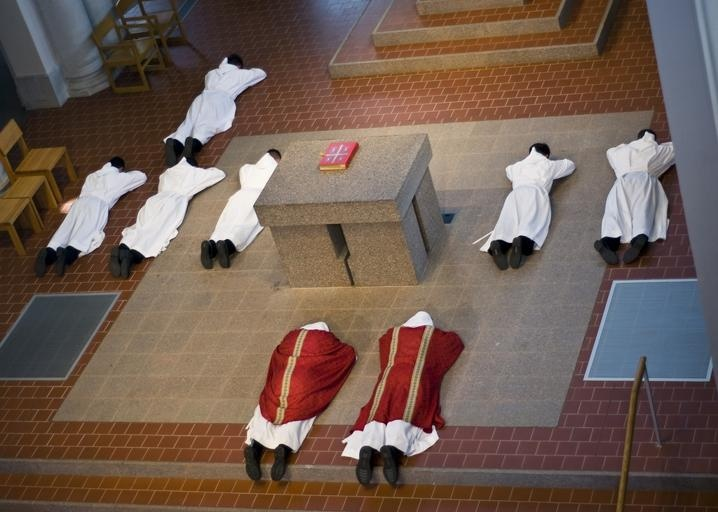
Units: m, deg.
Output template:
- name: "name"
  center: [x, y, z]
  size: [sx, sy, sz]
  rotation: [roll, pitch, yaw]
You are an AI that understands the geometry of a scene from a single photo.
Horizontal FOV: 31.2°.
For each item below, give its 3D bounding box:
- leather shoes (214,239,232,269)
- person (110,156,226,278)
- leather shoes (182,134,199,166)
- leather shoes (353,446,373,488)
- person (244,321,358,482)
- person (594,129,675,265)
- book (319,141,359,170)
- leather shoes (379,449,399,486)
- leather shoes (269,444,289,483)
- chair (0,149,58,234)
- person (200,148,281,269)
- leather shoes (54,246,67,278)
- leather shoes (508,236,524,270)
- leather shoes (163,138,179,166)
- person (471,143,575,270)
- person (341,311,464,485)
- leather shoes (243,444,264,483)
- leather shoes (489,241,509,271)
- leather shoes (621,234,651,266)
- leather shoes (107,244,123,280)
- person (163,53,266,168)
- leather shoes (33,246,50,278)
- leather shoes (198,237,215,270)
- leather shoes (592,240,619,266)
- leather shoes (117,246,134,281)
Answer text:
- name: "leather shoes"
  center: [-1.402, -0.028, 13.230]
  size: [0.146, 0.128, 0.288]
  rotation: [2, 91, 22]
- name: "person"
  center: [-2.121, -0.462, 13.862]
  size: [0.654, 0.328, 1.561]
  rotation: [22, 54, 15]
- name: "leather shoes"
  center: [-1.948, -1.207, 14.694]
  size: [0.136, 0.166, 0.365]
  rotation: [-5, 91, 27]
- name: "leather shoes"
  center: [0.049, 1.812, 11.331]
  size: [0.159, 0.132, 0.313]
  rotation: [4, 82, 10]
- name: "person"
  center: [-0.620, 1.266, 11.732]
  size: [0.805, 0.541, 1.440]
  rotation: [23, 69, 14]
- name: "person"
  center: [2.733, -0.643, 12.512]
  size: [0.597, 0.496, 1.564]
  rotation: [0, 43, 25]
- name: "book"
  center: [-0.202, -0.980, 12.544]
  size: [0.321, 0.080, 0.339]
  rotation: [1, 38, 20]
- name: "leather shoes"
  center: [0.293, 1.799, 11.288]
  size: [0.130, 0.151, 0.357]
  rotation: [-7, 92, 19]
- name: "leather shoes"
  center: [-0.696, 1.829, 11.554]
  size: [0.153, 0.146, 0.325]
  rotation: [13, 83, 22]
- name: "chair"
  center: [-3.672, -0.725, 14.410]
  size: [0.676, 0.595, 0.651]
  rotation: [6, 42, 7]
- name: "person"
  center: [-1.195, -0.567, 13.676]
  size: [0.649, 0.441, 1.791]
  rotation: [18, 42, 7]
- name: "leather shoes"
  center: [-3.178, 0.032, 13.699]
  size: [0.118, 0.122, 0.284]
  rotation: [-1, 78, 18]
- name: "leather shoes"
  center: [1.529, -0.041, 12.376]
  size: [0.154, 0.126, 0.278]
  rotation: [4, 82, 36]
- name: "leather shoes"
  center: [-2.165, -1.200, 14.855]
  size: [0.177, 0.117, 0.300]
  rotation: [-4, 71, 25]
- name: "person"
  center: [1.676, -0.570, 12.792]
  size: [0.741, 0.310, 1.393]
  rotation: [4, 54, 24]
- name: "person"
  center: [0.399, 1.180, 11.689]
  size: [0.916, 0.405, 1.733]
  rotation: [5, 46, 19]
- name: "leather shoes"
  center: [-0.950, 1.829, 11.525]
  size: [0.163, 0.145, 0.321]
  rotation: [-6, 83, 4]
- name: "leather shoes"
  center: [1.400, -0.022, 12.442]
  size: [0.214, 0.251, 0.215]
  rotation: [-14, 43, -7]
- name: "leather shoes"
  center: [2.617, -0.071, 12.181]
  size: [0.163, 0.149, 0.343]
  rotation: [43, 111, 29]
- name: "leather shoes"
  center: [-2.561, 0.052, 13.485]
  size: [0.122, 0.136, 0.325]
  rotation: [-4, 80, 8]
- name: "person"
  center: [-1.748, -1.803, 15.507]
  size: [0.709, 0.483, 1.857]
  rotation: [12, 51, 19]
- name: "leather shoes"
  center: [-3.389, 0.049, 13.755]
  size: [0.165, 0.143, 0.320]
  rotation: [9, 83, 3]
- name: "leather shoes"
  center: [-1.572, -0.033, 13.215]
  size: [0.138, 0.128, 0.287]
  rotation: [1, 93, 8]
- name: "leather shoes"
  center: [2.354, -0.045, 12.212]
  size: [0.144, 0.136, 0.307]
  rotation: [-45, 71, 22]
- name: "leather shoes"
  center: [-2.453, 0.062, 13.454]
  size: [0.127, 0.143, 0.343]
  rotation: [-1, 81, 12]
